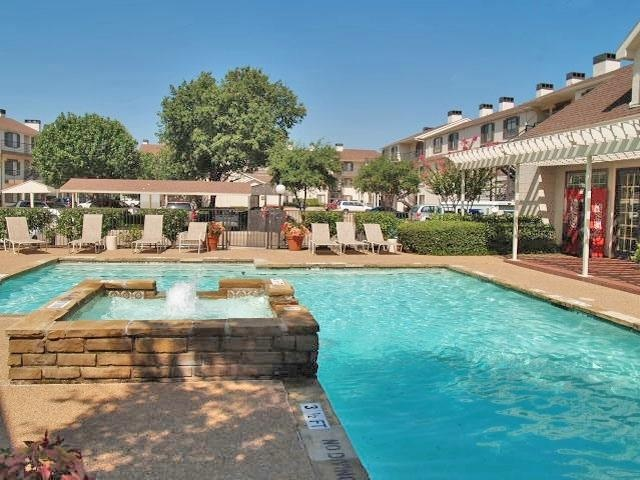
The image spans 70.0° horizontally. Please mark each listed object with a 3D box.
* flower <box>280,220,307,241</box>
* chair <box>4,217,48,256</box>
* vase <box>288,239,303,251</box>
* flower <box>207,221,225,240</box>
[{"bbox_3d":[-0.987,-0.408,17.808,1.011,0.475,0.826,0,3,6],"label":"flower"},{"bbox_3d":[-10.313,-0.180,16.260,2.256,1.174,1.217,16,15,36],"label":"chair"},{"bbox_3d":[-0.976,0.171,17.569,0.589,0.335,0.563,-1,1,25],"label":"vase"},{"bbox_3d":[-4.078,-0.367,17.440,0.834,0.578,0.682,0,8,-12],"label":"flower"}]
